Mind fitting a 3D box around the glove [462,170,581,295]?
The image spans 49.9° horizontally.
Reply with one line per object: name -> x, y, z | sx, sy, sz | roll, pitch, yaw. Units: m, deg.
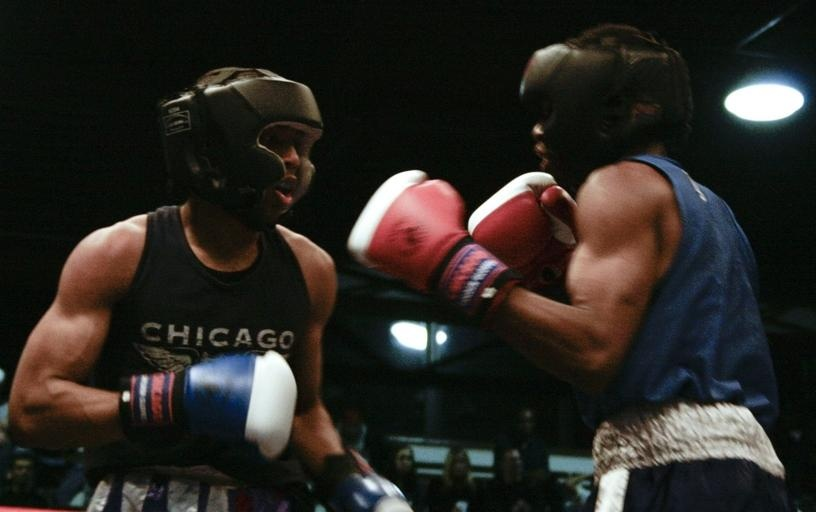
glove -> 0.497, -0.148, 3.867 | 0.555, 0.412, 0.234 | 47, 10, -17
